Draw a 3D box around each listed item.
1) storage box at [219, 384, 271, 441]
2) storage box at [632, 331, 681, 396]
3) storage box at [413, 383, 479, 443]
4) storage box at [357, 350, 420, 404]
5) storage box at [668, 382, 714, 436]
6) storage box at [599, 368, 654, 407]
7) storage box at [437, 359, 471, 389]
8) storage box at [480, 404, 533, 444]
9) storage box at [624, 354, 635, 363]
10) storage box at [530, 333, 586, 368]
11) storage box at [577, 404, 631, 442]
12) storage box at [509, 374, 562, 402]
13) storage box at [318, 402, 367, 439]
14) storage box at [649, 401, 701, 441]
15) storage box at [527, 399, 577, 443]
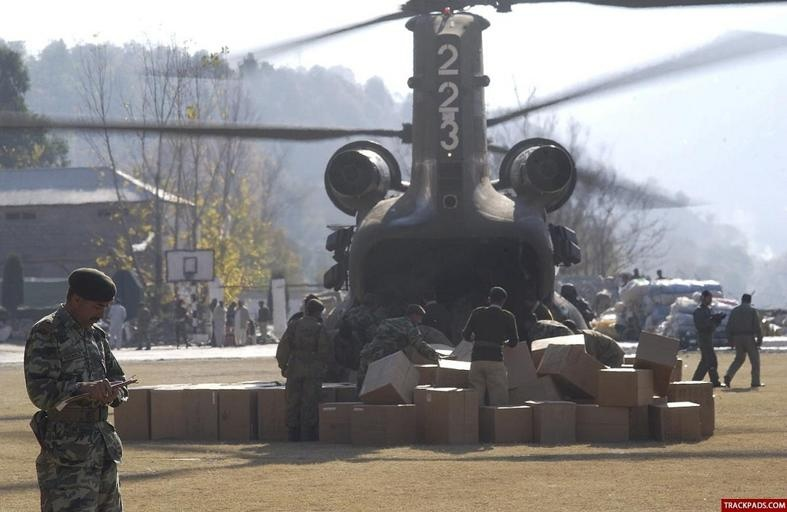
[{"bbox_3d":[-5.690,5.492,58.184,1.786,1.578,1.319,1,0,14],"label":"storage box"},{"bbox_3d":[9.205,3.788,57.387,1.020,1.160,1.831,13,-25,14],"label":"storage box"},{"bbox_3d":[1.900,5.530,57.806,1.564,1.795,2.726,0,-2,-28],"label":"storage box"},{"bbox_3d":[-0.281,4.168,58.017,2.724,1.911,2.774,1,2,22],"label":"storage box"},{"bbox_3d":[10.986,5.532,58.311,1.717,1.859,2.160,-1,-12,35],"label":"storage box"},{"bbox_3d":[8.053,4.537,57.083,1.468,1.049,1.458,-1,-3,16],"label":"storage box"},{"bbox_3d":[2.077,4.136,57.598,1.508,1.035,0.791,0,-26,3],"label":"storage box"},{"bbox_3d":[3.916,5.833,56.717,1.487,1.039,1.428,1,-5,-12],"label":"storage box"},{"bbox_3d":[8.391,3.609,58.325,0.542,0.276,0.333,-1,30,5],"label":"storage box"},{"bbox_3d":[5.701,3.499,57.813,2.119,1.088,1.377,-4,20,12],"label":"storage box"},{"bbox_3d":[7.303,5.852,57.239,2.278,1.500,1.187,0,-10,3],"label":"storage box"},{"bbox_3d":[4.923,4.841,57.810,1.683,1.166,0.919,-5,-37,-7],"label":"storage box"},{"bbox_3d":[-1.734,5.695,57.563,1.912,1.562,0.995,0,16,-2],"label":"storage box"},{"bbox_3d":[10.149,5.857,57.730,1.215,1.393,2.127,-3,-1,4],"label":"storage box"},{"bbox_3d":[5.510,5.768,57.235,1.478,1.362,1.410,1,-5,-7],"label":"storage box"}]
